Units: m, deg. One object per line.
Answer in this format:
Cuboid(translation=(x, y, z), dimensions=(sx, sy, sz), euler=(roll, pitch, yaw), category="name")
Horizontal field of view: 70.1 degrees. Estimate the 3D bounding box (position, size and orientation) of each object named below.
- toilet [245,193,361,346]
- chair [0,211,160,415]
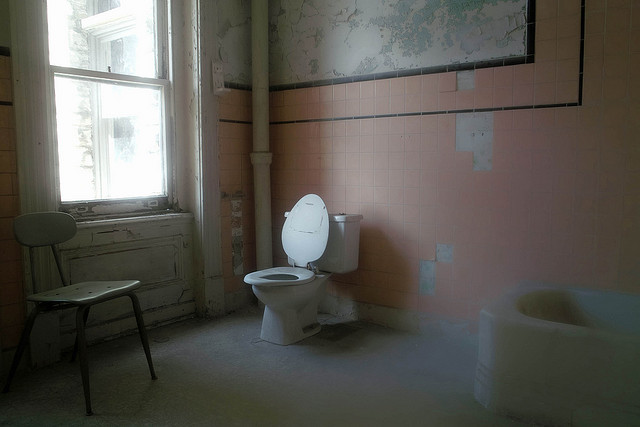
Cuboid(translation=(-0.195, 0.421, 3.814), dimensions=(0.755, 1.159, 1.043), euler=(4, 5, 29), category="toilet")
Cuboid(translation=(-1.578, 0.536, 3.740), dimensions=(1.207, 1.766, 1.095), euler=(3, 6, 22), category="chair")
